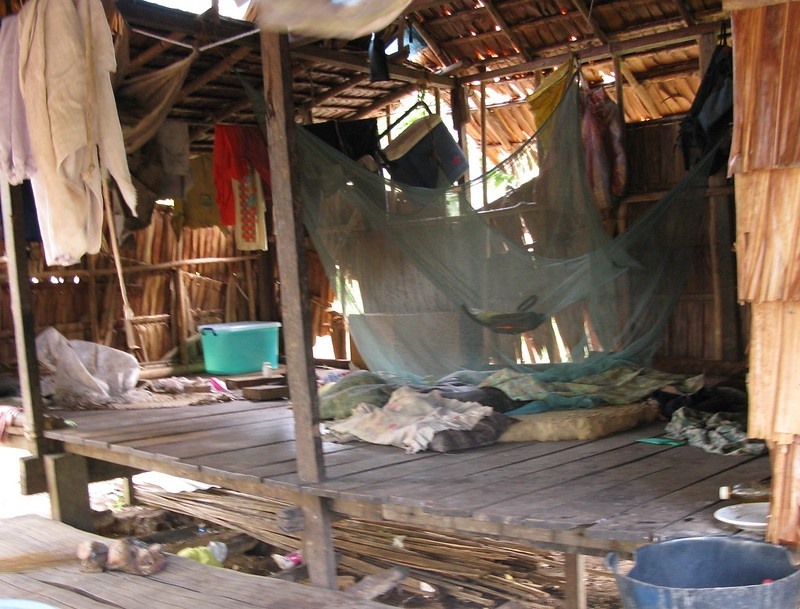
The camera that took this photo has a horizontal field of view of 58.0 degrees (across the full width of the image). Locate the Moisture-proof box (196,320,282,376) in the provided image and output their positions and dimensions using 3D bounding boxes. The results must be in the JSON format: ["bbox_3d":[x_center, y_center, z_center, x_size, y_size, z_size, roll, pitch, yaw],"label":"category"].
[{"bbox_3d":[-1.345,0.348,6.016,0.826,0.318,0.478,-5,5,-31],"label":"Moisture-proof box"}]
